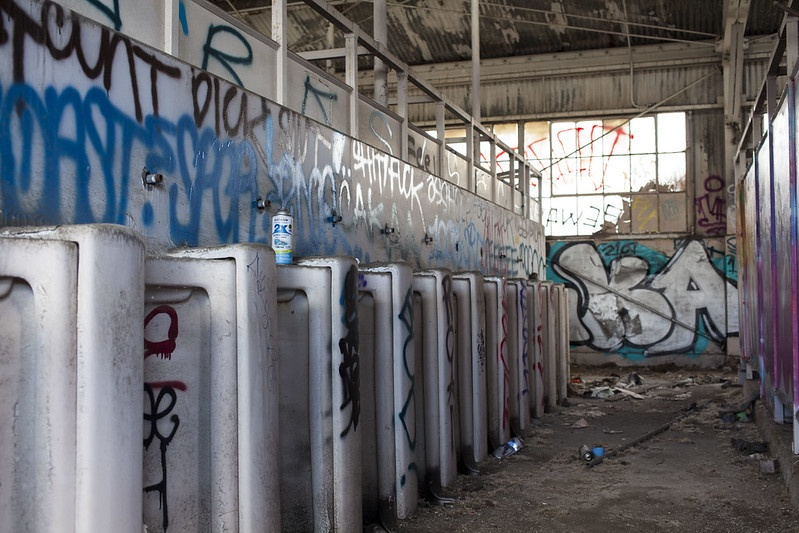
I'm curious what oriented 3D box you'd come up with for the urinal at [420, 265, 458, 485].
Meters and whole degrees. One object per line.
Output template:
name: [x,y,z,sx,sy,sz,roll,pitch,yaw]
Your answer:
urinal: [0.308,0.940,7.690,0.332,1.823,0.247,-1,1,-15]
